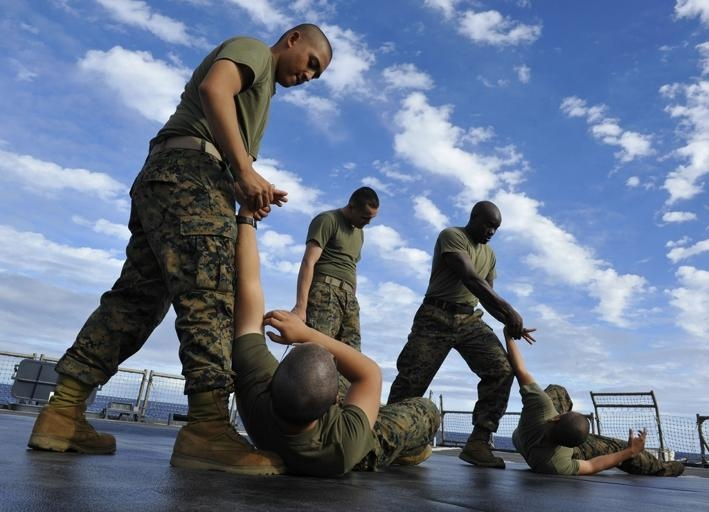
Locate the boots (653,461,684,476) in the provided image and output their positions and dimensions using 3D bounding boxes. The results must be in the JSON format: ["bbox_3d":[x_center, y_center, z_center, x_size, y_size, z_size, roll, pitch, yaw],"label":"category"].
[{"bbox_3d":[2.992,2.049,4.787,0.333,0.134,0.109,18,-27,-22],"label":"boots"}]

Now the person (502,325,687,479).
[{"bbox_3d":[2.081,1.376,4.598,1.557,1.212,0.902,19,-22,-31],"label":"person"}]

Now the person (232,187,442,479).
[{"bbox_3d":[-0.136,0.655,2.999,1.107,1.737,1.517,-2,-6,16],"label":"person"}]

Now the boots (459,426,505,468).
[{"bbox_3d":[1.252,1.833,4.745,0.427,0.410,0.189,-4,-42,46],"label":"boots"}]
